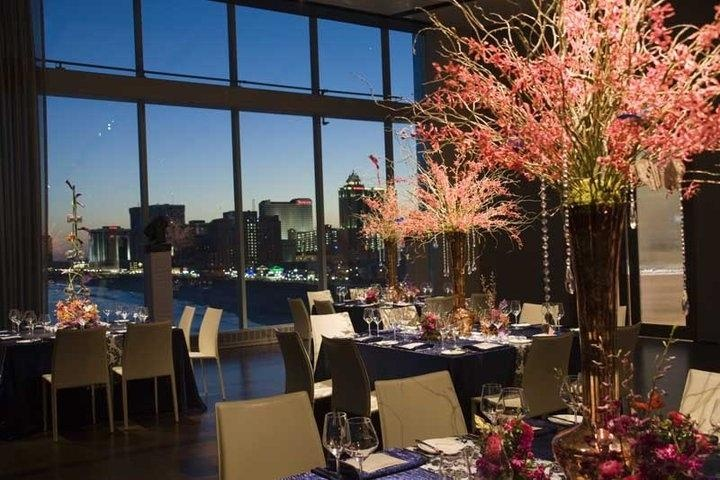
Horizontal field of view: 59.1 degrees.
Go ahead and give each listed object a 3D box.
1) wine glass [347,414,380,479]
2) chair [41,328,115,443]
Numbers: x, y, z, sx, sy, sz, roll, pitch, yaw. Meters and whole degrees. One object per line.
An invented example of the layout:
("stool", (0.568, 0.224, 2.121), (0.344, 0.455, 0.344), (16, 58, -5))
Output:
("wine glass", (0.011, 0.968, 3.010), (0.132, 0.299, 0.211), (-2, 4, 2))
("chair", (-2.753, 1.339, 6.168), (0.634, 1.044, 0.587), (-4, 4, -26))
